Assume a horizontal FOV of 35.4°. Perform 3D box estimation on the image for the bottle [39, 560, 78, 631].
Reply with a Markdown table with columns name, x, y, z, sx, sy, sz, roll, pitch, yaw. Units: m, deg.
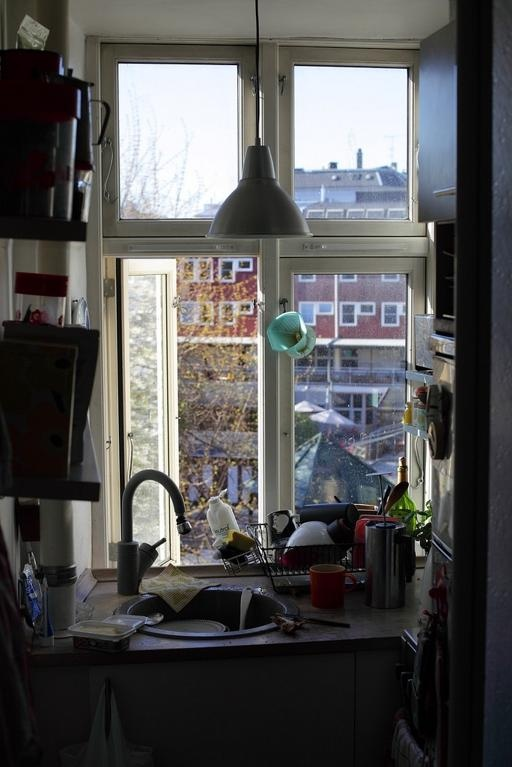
| name | x | y | z | sx | sy | sz | roll | pitch | yaw |
| --- | --- | --- | --- | --- | --- | --- | --- | --- | --- |
| bottle | -0.451 | 0.491 | 1.828 | 0.065 | 0.153 | 0.146 | -1 | 3 | 17 |

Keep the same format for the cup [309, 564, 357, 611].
| name | x | y | z | sx | sy | sz | roll | pitch | yaw |
| --- | --- | --- | --- | --- | --- | --- | --- | --- | --- |
| cup | 0.195 | 0.535 | 2.054 | 0.095 | 0.090 | 0.070 | 1 | -5 | -5 |

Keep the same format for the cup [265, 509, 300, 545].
| name | x | y | z | sx | sy | sz | roll | pitch | yaw |
| --- | --- | --- | --- | --- | --- | --- | --- | --- | --- |
| cup | 0.075 | 0.426 | 2.371 | 0.085 | 0.106 | 0.063 | 3 | -31 | -12 |

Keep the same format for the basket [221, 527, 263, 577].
| name | x | y | z | sx | sy | sz | roll | pitch | yaw |
| --- | --- | --- | --- | --- | --- | --- | --- | --- | --- |
| basket | -0.044 | 0.475 | 2.312 | 0.108 | 0.132 | 0.121 | -5 | 7 | -15 |

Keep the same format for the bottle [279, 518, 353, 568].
| name | x | y | z | sx | sy | sz | roll | pitch | yaw |
| --- | --- | --- | --- | --- | --- | --- | --- | --- | --- |
| bottle | 0.170 | 0.454 | 2.231 | 0.199 | 0.114 | 0.124 | -2 | 3 | -3 |

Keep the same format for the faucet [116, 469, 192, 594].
| name | x | y | z | sx | sy | sz | roll | pitch | yaw |
| --- | --- | --- | --- | --- | --- | --- | --- | --- | --- |
| faucet | -0.268 | 0.399 | 2.181 | 0.254 | 0.336 | 0.155 | -1 | 2 | 25 |
